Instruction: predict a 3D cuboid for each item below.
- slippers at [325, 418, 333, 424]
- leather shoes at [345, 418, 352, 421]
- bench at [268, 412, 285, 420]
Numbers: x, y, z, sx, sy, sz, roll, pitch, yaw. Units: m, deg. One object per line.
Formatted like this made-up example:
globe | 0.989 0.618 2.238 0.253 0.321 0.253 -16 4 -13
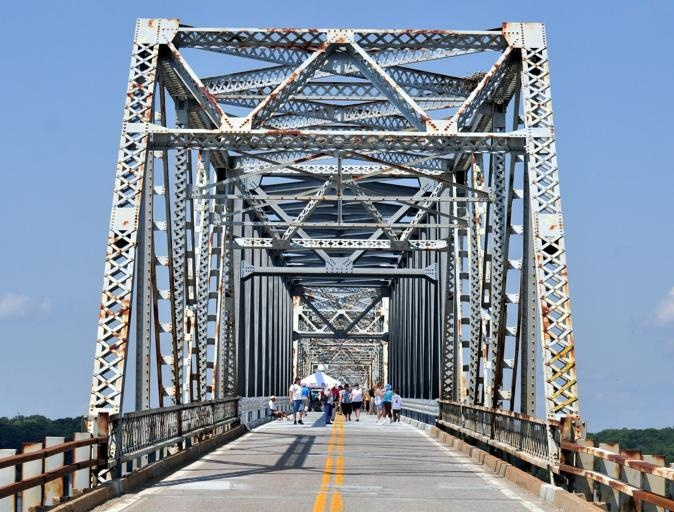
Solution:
slippers | -0.286 6.273 39.019 0.264 0.065 0.279 2 5 -7
leather shoes | 0.460 6.759 42.515 0.190 0.179 0.199 0 -3 4
bench | -2.605 6.985 45.223 0.486 0.477 0.512 3 0 14
